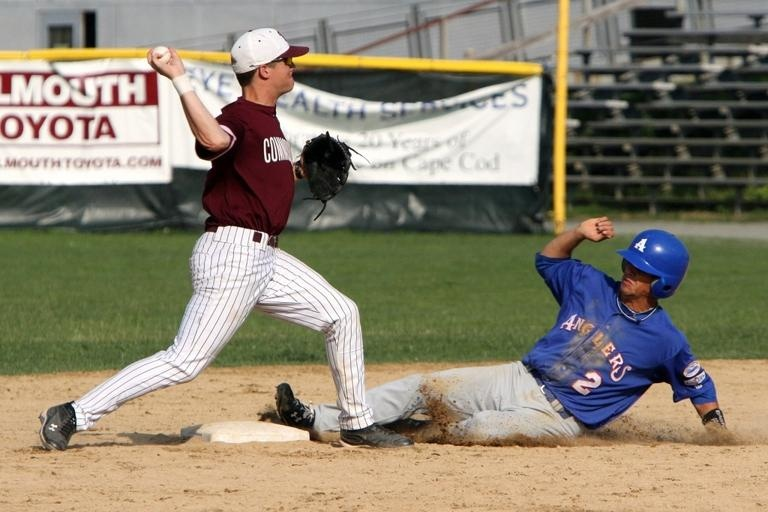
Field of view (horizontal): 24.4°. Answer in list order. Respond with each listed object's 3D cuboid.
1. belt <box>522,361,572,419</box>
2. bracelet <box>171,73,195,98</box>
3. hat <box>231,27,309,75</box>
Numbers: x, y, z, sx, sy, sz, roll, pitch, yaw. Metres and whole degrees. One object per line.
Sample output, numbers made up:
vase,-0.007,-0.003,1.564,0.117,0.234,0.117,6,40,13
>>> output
belt,1.783,1.578,19.045,0.104,0.434,0.258,-46,-14,23
bracelet,-2.080,-1.752,18.410,0.230,0.231,0.070,-17,-12,-7
hat,-1.238,-2.185,18.648,0.638,0.324,0.456,-9,22,-3
